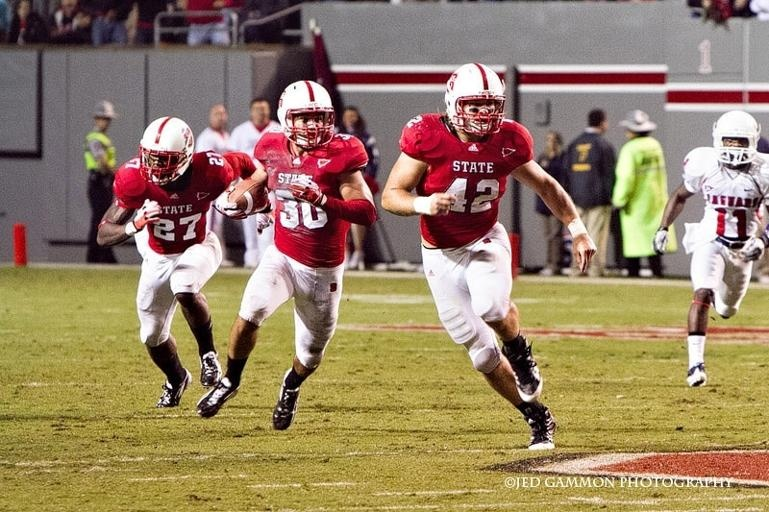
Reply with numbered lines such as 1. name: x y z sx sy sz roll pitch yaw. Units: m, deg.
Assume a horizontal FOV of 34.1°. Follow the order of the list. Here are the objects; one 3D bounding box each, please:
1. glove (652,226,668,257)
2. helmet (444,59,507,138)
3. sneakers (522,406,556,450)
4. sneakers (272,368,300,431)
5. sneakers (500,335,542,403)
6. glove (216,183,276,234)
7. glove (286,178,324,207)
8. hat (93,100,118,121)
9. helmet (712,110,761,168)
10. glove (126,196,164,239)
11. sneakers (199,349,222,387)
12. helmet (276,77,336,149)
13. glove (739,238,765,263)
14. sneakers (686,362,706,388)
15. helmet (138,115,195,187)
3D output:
1. glove: 2.649 -0.138 12.007 0.109 0.239 0.142 18 -7 -32
2. helmet: 0.717 -1.220 9.908 0.424 0.488 0.589 -1 14 -7
3. sneakers: 1.241 1.352 10.024 0.233 0.358 0.295 0 3 8
4. sneakers: -0.817 1.230 10.492 0.187 0.561 0.235 9 2 -17
5. sneakers: 1.116 0.895 9.956 0.217 0.632 0.250 -23 -14 19
6. glove: -1.211 -0.437 10.478 0.470 0.197 0.365 5 -38 18
7. glove: -0.621 -0.495 9.962 0.252 0.125 0.189 11 -22 32
8. hat: -4.180 -2.151 18.481 0.400 0.216 0.285 0 2 28
9. helmet: 3.313 -1.125 11.959 0.416 0.516 0.532 1 6 9
10. glove: -2.029 -0.332 10.605 0.346 0.228 0.130 -29 9 33
11. sneakers: -1.553 1.024 11.116 0.141 0.387 0.160 -3 -11 -4
12. helmet: -0.643 -1.194 10.524 0.411 0.487 0.585 -3 11 -11
13. glove: 3.440 -0.060 11.714 0.172 0.099 0.233 -14 10 38
14. sneakers: 2.898 1.117 11.611 0.105 0.143 0.286 2 -17 -6
15. helmet: -1.816 -0.951 10.903 0.437 0.471 0.590 7 29 11
